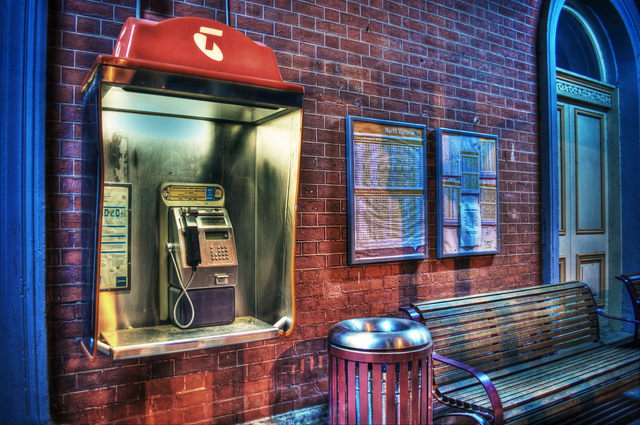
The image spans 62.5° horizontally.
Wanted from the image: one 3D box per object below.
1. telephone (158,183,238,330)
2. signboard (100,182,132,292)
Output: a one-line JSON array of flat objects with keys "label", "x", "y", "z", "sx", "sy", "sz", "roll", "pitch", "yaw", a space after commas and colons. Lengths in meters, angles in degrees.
[{"label": "telephone", "x": -0.895, "y": 0.297, "z": 3.967, "sx": 0.539, "sy": 1.061, "sz": 0.498, "roll": -3, "pitch": 5, "yaw": -45}, {"label": "signboard", "x": -1.471, "y": 0.173, "z": 3.794, "sx": 0.209, "sy": 0.782, "sz": 0.077, "roll": 0, "pitch": -3, "yaw": -29}]
